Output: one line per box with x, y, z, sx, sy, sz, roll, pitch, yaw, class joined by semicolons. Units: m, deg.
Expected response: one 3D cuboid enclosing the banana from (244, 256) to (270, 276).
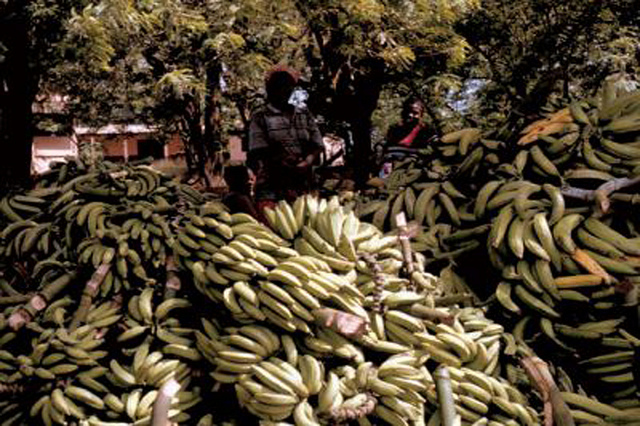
-0.365;0.303;3.567;0.119;0.036;0.040;42;31;15;banana

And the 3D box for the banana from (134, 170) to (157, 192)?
-1.104;-0.202;3.958;0.111;0.043;0.196;-23;54;-33;banana

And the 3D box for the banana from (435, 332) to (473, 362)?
0.768;0.761;3.644;0.188;0.139;0.065;41;-5;-7;banana

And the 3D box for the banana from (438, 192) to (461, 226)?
0.847;-0.022;4.144;0.052;0.214;0.156;-5;6;-38;banana

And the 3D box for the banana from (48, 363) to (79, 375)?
-1.455;0.890;3.598;0.202;0.052;0.061;-10;-27;13;banana

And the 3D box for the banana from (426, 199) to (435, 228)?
0.727;0.003;4.163;0.052;0.166;0.050;19;-21;-25;banana

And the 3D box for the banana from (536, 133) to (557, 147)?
1.444;-0.462;4.028;0.114;0.064;0.026;19;14;25;banana

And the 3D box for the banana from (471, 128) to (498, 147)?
1.102;-0.503;4.253;0.178;0.111;0.084;-3;5;-14;banana

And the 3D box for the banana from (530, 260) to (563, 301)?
1.356;0.432;3.790;0.133;0.154;0.464;11;22;6;banana

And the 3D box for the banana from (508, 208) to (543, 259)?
1.231;0.098;3.827;0.093;0.380;0.155;-18;53;-17;banana

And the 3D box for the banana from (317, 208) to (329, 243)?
0.014;0.081;3.709;0.079;0.167;0.052;1;-4;21;banana

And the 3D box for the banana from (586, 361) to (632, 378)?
1.654;0.926;3.717;0.333;0.077;0.045;-8;9;21;banana

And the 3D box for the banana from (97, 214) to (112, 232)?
-1.310;0.062;3.791;0.074;0.129;0.029;18;-38;-31;banana

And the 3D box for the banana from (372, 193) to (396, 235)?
0.408;0.016;4.279;0.083;0.322;0.080;-11;-51;48;banana

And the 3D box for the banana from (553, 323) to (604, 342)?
1.522;0.723;3.813;0.398;0.141;0.093;0;-20;7;banana

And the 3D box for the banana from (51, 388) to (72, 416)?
-1.456;1.050;3.527;0.087;0.156;0.051;-39;-4;-17;banana

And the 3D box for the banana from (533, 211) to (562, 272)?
1.350;0.177;3.846;0.117;0.364;0.095;-11;-7;-17;banana

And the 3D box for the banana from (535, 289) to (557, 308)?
1.339;0.513;3.758;0.117;0.067;0.028;39;17;12;banana

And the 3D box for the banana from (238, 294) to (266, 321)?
-0.383;0.535;3.502;0.208;0.064;0.070;41;29;17;banana

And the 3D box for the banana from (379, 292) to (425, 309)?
0.460;0.501;3.680;0.322;0.090;0.086;-2;-27;-4;banana

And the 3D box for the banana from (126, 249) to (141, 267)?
-1.097;0.268;3.712;0.055;0.099;0.027;-40;-11;14;banana

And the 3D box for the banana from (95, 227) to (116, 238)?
-1.283;0.122;3.720;0.081;0.054;0.028;-8;29;-19;banana

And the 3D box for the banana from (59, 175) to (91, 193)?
-1.543;-0.176;3.928;0.212;0.104;0.061;-1;5;8;banana

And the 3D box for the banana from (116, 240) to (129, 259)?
-1.168;0.218;3.705;0.062;0.095;0.029;9;-19;-1;banana

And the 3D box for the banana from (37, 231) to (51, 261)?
-1.668;0.204;3.796;0.096;0.153;0.041;9;-1;16;banana

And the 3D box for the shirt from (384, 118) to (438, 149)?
0.919;-0.808;6.528;0.395;0.336;0.861;-1;4;12;shirt

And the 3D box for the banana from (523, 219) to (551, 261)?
1.297;0.142;3.874;0.159;0.317;0.082;4;-41;5;banana

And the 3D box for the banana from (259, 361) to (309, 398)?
-0.203;0.907;3.415;0.236;0.048;0.061;36;-13;7;banana

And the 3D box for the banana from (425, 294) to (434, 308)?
0.645;0.524;3.728;0.052;0.067;0.025;1;-8;-13;banana

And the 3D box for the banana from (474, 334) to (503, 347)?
1.001;0.751;3.738;0.174;0.062;0.040;-4;5;-29;banana

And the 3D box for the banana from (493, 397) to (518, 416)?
1.046;1.092;3.578;0.118;0.034;0.080;29;16;11;banana

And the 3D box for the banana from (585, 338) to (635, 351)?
1.719;0.770;3.727;0.227;0.058;0.046;5;-38;18;banana

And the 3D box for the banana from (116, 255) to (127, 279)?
-1.162;0.315;3.690;0.045;0.138;0.045;-31;-12;37;banana

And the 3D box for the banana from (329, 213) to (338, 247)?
0.078;0.108;3.674;0.049;0.181;0.044;1;7;17;banana

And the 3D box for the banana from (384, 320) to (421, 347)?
0.496;0.696;3.683;0.111;0.124;0.413;-3;-18;42;banana

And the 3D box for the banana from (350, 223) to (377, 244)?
0.262;0.136;3.863;0.046;0.099;0.138;8;-36;-28;banana

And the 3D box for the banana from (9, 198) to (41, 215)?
-1.845;-0.034;3.925;0.189;0.096;0.028;-1;5;4;banana

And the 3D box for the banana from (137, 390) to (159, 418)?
-0.970;1.064;3.535;0.108;0.133;0.051;-3;5;-17;banana

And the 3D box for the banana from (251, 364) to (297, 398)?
-0.239;0.946;3.485;0.123;0.141;0.439;29;5;31;banana
